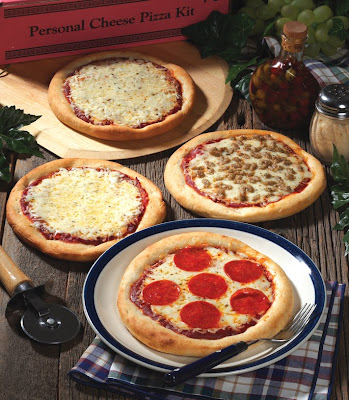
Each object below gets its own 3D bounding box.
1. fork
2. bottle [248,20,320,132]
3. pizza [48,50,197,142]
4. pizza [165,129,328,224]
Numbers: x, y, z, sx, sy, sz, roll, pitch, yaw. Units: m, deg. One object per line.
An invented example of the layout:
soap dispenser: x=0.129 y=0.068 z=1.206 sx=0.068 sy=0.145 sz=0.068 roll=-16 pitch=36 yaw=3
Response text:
fork: x=0.109 y=0.245 z=0.696 sx=0.334 sy=0.037 sz=0.051 roll=-14 pitch=15 yaw=-27
bottle: x=0.355 y=-0.372 z=1.311 sx=0.153 sy=0.317 sz=0.165 roll=-1 pitch=45 yaw=1
pizza: x=-0.189 y=-0.399 z=1.545 sx=0.519 sy=0.115 sz=0.592 roll=-2 pitch=37 yaw=-2
pizza: x=0.192 y=-0.078 z=1.206 sx=0.445 sy=0.074 sz=0.399 roll=-14 pitch=39 yaw=-18
